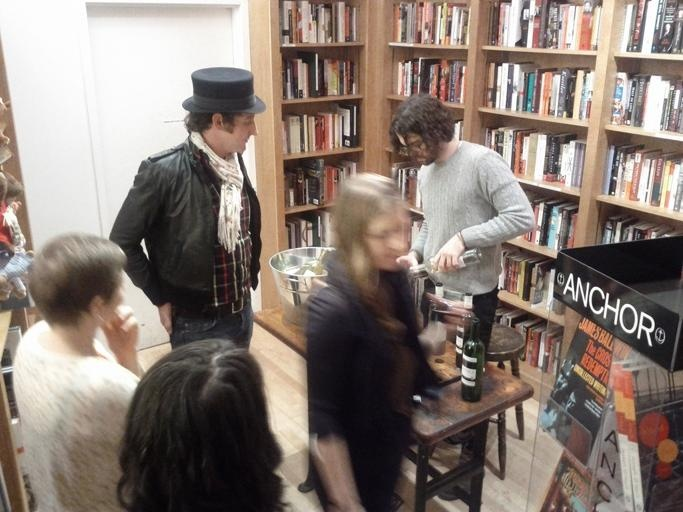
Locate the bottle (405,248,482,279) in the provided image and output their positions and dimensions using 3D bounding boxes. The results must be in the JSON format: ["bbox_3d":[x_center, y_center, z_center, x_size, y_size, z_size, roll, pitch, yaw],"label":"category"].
[{"bbox_3d":[0.544,0.079,2.694,0.356,0.187,0.417,2,15,16],"label":"bottle"}]

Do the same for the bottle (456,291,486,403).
[{"bbox_3d":[0.574,0.435,2.289,0.118,0.369,0.272,1,14,13],"label":"bottle"}]

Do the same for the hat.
[{"bbox_3d":[-0.575,-0.806,2.540,0.295,0.124,0.278,-3,28,-14],"label":"hat"}]

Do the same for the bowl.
[{"bbox_3d":[-0.238,0.105,2.978,0.366,0.319,0.417,18,27,35],"label":"bowl"}]

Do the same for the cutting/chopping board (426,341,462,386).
[{"bbox_3d":[0.498,0.520,2.444,0.127,0.049,0.203,-20,40,-24],"label":"cutting/chopping board"}]

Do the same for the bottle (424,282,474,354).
[{"bbox_3d":[0.509,0.310,2.442,0.091,0.364,0.088,-4,44,4],"label":"bottle"}]

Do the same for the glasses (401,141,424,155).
[{"bbox_3d":[0.389,-0.575,2.805,0.093,0.073,0.078,6,44,32],"label":"glasses"}]

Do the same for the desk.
[{"bbox_3d":[0.287,0.633,2.131,0.525,0.547,1.049,-8,18,-32],"label":"desk"}]

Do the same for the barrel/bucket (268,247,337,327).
[{"bbox_3d":[-0.213,0.095,2.985,0.386,0.341,0.437,19,26,39],"label":"barrel/bucket"}]
